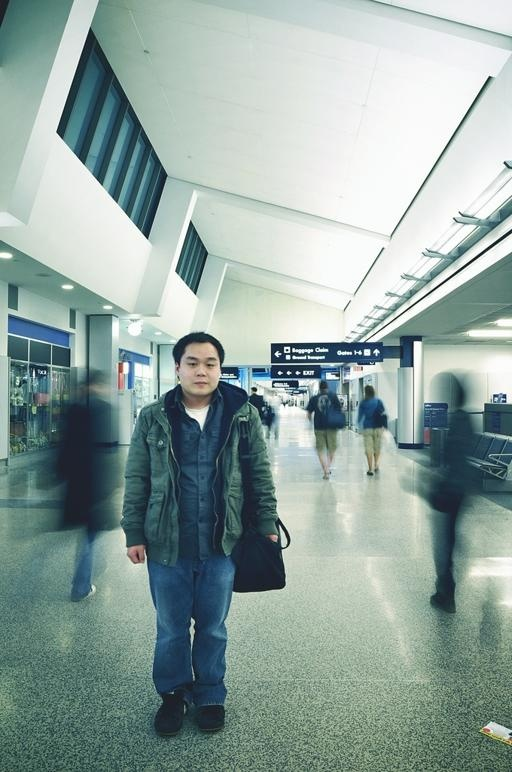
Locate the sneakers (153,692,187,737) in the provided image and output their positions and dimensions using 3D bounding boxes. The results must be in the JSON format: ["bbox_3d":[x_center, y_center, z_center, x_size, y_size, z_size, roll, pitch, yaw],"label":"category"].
[{"bbox_3d":[-0.325,1.258,2.170,0.121,0.125,0.090,1,-2,-11],"label":"sneakers"}]

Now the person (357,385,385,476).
[{"bbox_3d":[2.173,0.800,10.652,0.496,1.613,1.419,0,-2,12],"label":"person"}]

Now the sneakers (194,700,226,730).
[{"bbox_3d":[-0.172,1.279,2.194,0.106,0.088,0.078,0,-2,-6],"label":"sneakers"}]

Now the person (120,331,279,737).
[{"bbox_3d":[-0.216,0.552,2.319,0.642,1.562,0.309,1,-1,-16],"label":"person"}]
